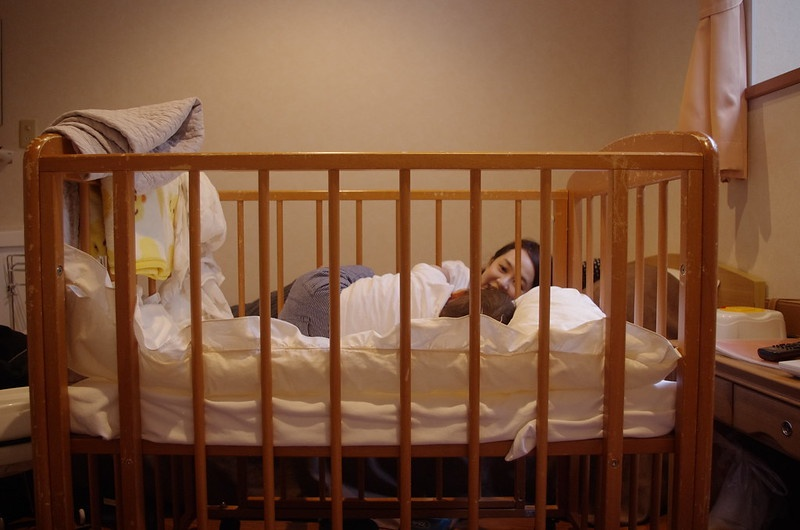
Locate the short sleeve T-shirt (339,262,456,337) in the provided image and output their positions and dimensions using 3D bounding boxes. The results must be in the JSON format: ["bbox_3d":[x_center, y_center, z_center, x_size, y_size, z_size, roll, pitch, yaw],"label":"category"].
[{"bbox_3d":[-0.030,0.155,3.064,0.341,0.139,0.265,-5,-14,-11],"label":"short sleeve T-shirt"}]

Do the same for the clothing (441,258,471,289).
[{"bbox_3d":[0.257,0.025,3.500,0.096,0.050,0.130,5,39,-16],"label":"clothing"}]

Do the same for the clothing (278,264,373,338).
[{"bbox_3d":[-0.300,0.140,3.112,0.360,0.153,0.218,-19,-16,34],"label":"clothing"}]
